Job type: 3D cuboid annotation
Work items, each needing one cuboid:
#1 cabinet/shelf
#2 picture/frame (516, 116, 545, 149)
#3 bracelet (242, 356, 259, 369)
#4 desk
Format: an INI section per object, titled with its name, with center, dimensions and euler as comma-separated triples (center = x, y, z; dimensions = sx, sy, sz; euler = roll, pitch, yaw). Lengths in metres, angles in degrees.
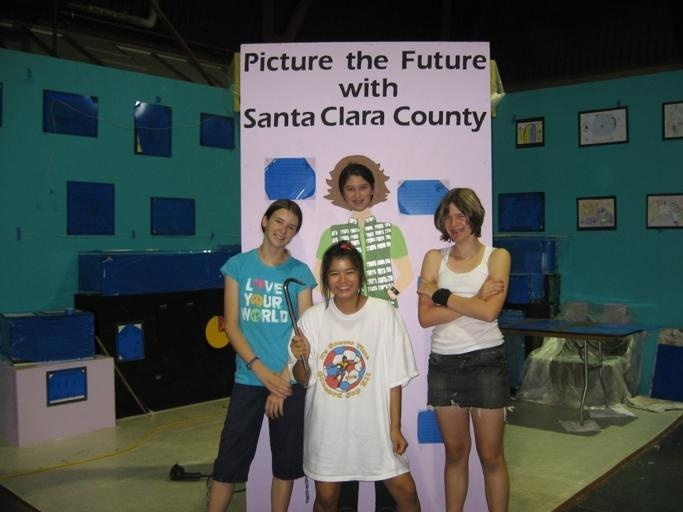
[cabinet/shelf]
center = -2.139, 1.200, 6.603
dimensions = 1.990, 1.611, 1.029
euler = 1, -2, -38
[picture/frame]
center = 2.452, -1.599, 7.408
dimensions = 0.372, 0.435, 0.038
euler = 1, -2, 36
[bracelet]
center = -0.504, 0.587, 3.211
dimensions = 0.061, 0.019, 0.065
euler = -47, -7, 31
[desk]
center = 2.377, 1.179, 5.991
dimensions = 1.417, 0.992, 1.221
euler = -2, 2, -13
